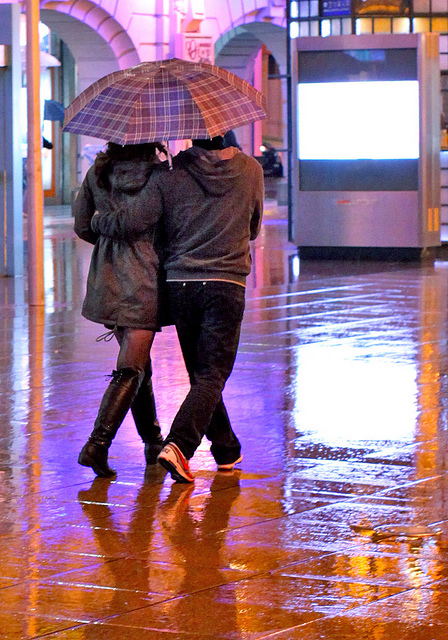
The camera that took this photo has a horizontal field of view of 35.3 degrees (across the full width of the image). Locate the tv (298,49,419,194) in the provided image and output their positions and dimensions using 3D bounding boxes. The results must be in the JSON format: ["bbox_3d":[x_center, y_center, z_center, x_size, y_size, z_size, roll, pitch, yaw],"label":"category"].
[{"bbox_3d":[2.487,-3.659,12.771,2.446,2.687,0.244,8,27,29],"label":"tv"}]

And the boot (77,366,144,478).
[{"bbox_3d":[-0.538,0.492,3.391,0.231,0.533,0.383,-1,1,23],"label":"boot"}]
